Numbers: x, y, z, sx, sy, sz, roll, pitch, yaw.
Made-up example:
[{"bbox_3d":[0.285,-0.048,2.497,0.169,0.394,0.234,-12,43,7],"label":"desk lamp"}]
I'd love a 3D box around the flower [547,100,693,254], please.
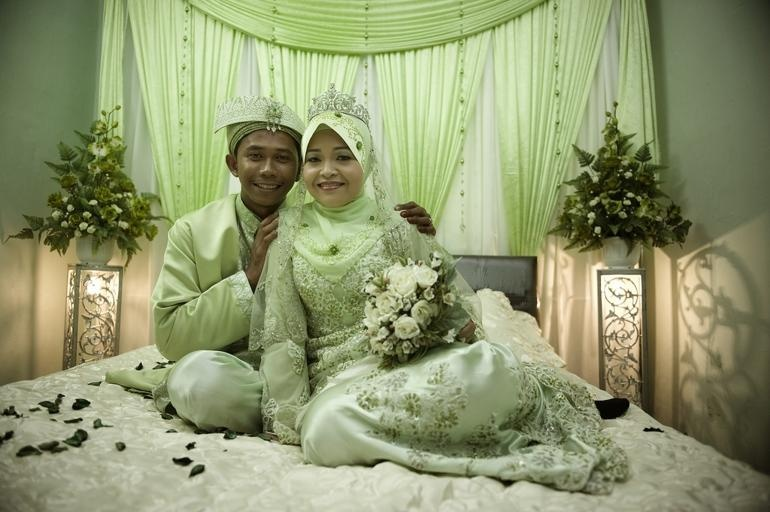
[{"bbox_3d":[1.872,-0.464,4.440,1.009,1.079,0.969,0,-5,-27],"label":"flower"}]

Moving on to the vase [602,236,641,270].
[{"bbox_3d":[1.721,-0.024,4.160,0.237,0.186,0.234,1,3,-15],"label":"vase"}]

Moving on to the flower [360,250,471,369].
[{"bbox_3d":[0.157,0.265,2.834,0.623,0.522,0.500,6,20,34],"label":"flower"}]

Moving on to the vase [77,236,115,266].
[{"bbox_3d":[-2.240,-0.049,4.407,0.232,0.185,0.231,0,5,-29],"label":"vase"}]
